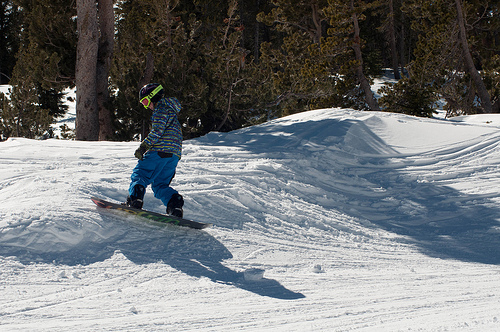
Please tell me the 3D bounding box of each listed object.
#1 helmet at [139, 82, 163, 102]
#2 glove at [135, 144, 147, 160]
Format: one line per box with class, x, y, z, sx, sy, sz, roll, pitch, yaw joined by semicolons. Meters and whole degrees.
helmet;-2.620;-1.963;15.908;0.515;0.563;0.425;36;0;-13
glove;-2.764;-0.364;15.425;0.259;0.388;0.099;34;1;0
